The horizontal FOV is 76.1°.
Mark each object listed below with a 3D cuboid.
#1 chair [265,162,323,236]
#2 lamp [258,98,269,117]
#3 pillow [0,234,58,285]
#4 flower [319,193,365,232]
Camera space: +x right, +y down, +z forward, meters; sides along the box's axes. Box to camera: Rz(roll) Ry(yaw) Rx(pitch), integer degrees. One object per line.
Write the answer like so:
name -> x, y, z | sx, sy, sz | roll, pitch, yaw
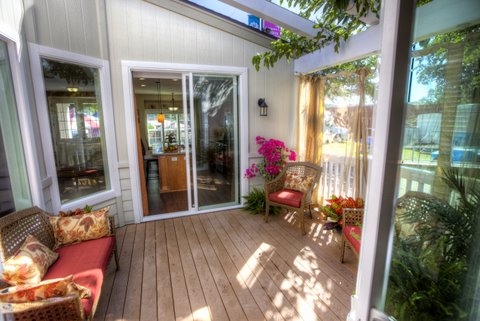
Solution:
chair -> 0.846, 0.558, 4.806 | 0.821, 0.945, 0.878 | -5, 12, -30
lamp -> 0.423, -0.935, 5.330 | 0.219, 0.318, 0.095 | -7, 9, -33
pillow -> -1.881, 0.922, 2.741 | 0.315, 0.136, 0.452 | 38, 8, -11
flower -> 1.452, 0.658, 4.423 | 0.390, 0.297, 0.436 | 1, 13, 7
